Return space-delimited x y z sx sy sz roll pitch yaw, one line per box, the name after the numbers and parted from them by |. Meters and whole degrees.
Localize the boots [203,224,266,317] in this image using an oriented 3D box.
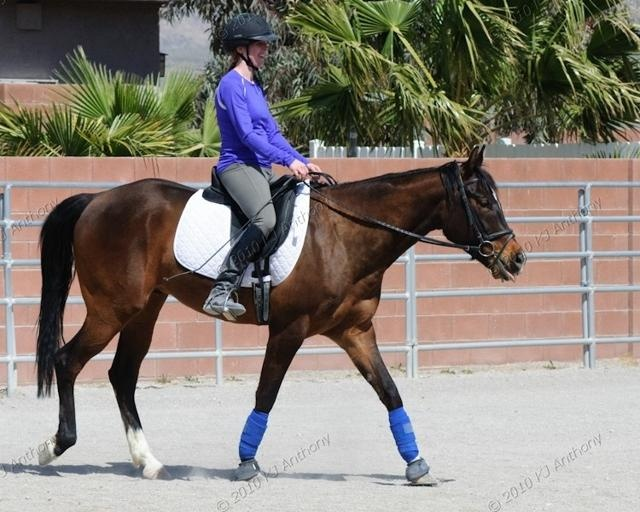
-0.911 0.190 16.506 0.648 1.025 0.276 -1 14 -3 | boots
